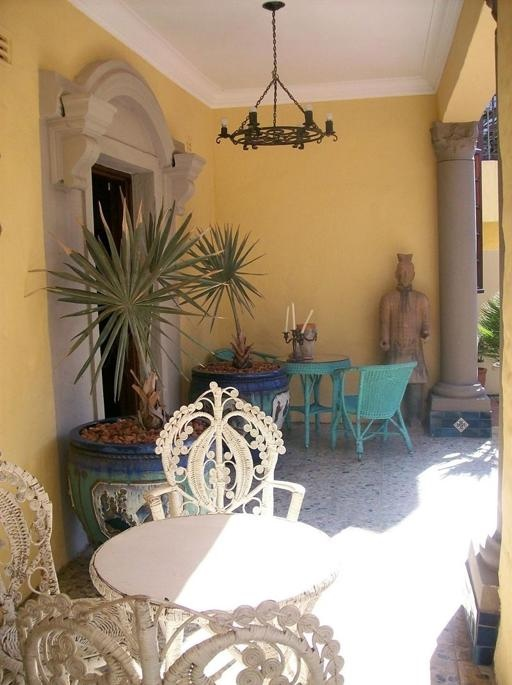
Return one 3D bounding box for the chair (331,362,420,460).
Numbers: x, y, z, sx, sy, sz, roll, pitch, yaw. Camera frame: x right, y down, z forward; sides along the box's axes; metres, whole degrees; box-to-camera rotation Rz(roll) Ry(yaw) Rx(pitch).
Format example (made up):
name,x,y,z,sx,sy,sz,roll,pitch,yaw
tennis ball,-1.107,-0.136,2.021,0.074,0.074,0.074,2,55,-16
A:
name,x,y,z,sx,sy,sz,roll,pitch,yaw
chair,0.949,0.486,4.576,0.530,0.790,0.608,-3,7,-11
